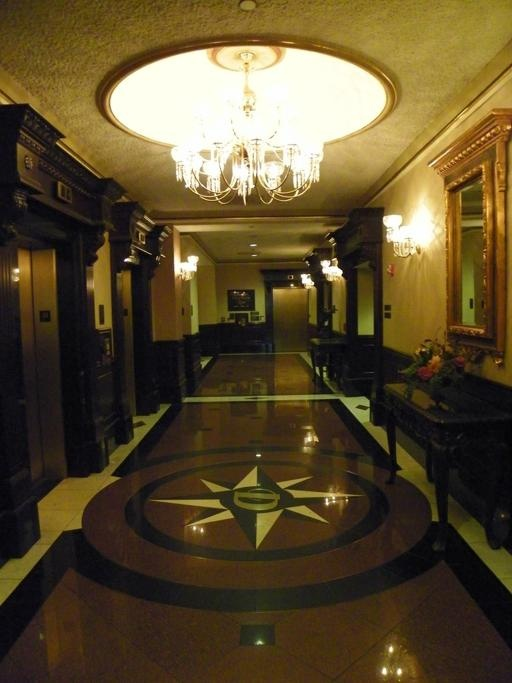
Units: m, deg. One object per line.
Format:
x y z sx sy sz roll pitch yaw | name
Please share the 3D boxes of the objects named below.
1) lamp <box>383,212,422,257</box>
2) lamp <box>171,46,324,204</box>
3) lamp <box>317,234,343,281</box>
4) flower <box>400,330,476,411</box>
1.565 -1.144 5.404 0.340 0.463 0.341 -3 19 35 | lamp
-0.105 -1.841 4.268 1.119 1.350 1.159 0 -9 1 | lamp
1.564 -1.635 10.297 0.464 0.822 0.282 0 8 9 | lamp
1.285 0.151 3.642 0.467 0.485 0.425 -28 28 -37 | flower
